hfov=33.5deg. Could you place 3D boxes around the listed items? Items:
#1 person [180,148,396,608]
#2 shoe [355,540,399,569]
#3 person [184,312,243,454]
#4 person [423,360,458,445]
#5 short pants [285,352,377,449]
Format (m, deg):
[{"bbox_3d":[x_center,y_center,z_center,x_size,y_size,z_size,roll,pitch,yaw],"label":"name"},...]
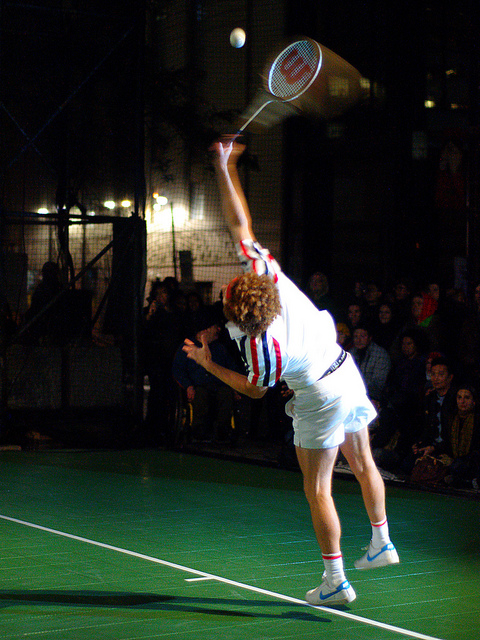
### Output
[{"bbox_3d":[0.209,0.315,3.531,0.623,1.674,0.796,-1,0,39],"label":"person"},{"bbox_3d":[0.626,1.092,3.713,0.089,0.120,0.257,5,-15,-36],"label":"shoe"},{"bbox_3d":[-0.135,0.716,8.813,0.824,1.239,1.120,-11,-21,15],"label":"person"},{"bbox_3d":[1.663,0.717,6.690,0.339,0.791,0.425,-4,-9,35],"label":"person"},{"bbox_3d":[0.423,0.356,3.500,0.386,0.355,0.238,-1,0,-8],"label":"short pants"}]
